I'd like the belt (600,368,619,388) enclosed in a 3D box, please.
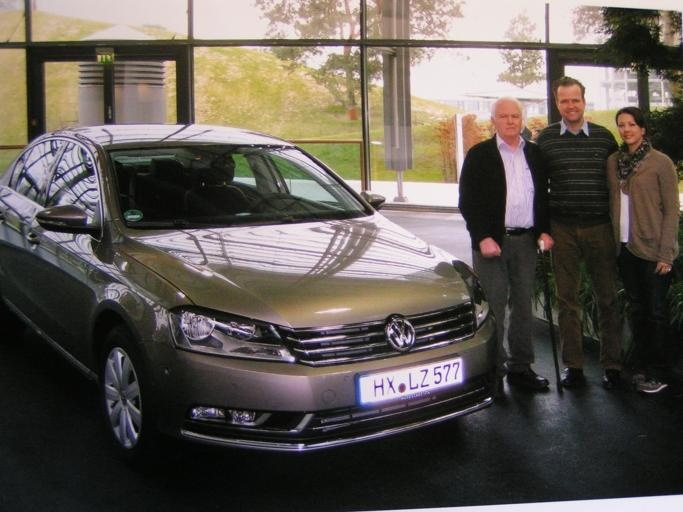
[{"bbox_3d":[1.787,0.814,3.879,0.064,0.071,0.172,-1,-2,20],"label":"belt"}]

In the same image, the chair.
[{"bbox_3d":[-0.946,-0.402,3.357,0.416,0.187,0.660,-5,24,-23],"label":"chair"}]

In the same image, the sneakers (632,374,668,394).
[{"bbox_3d":[1.977,0.830,3.793,0.105,0.050,0.127,-2,5,-15],"label":"sneakers"}]

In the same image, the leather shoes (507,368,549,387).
[{"bbox_3d":[1.243,0.814,3.946,0.261,0.103,0.103,2,7,44],"label":"leather shoes"}]

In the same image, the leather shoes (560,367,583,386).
[{"bbox_3d":[1.540,0.811,3.930,0.089,0.085,0.221,-1,-4,38],"label":"leather shoes"}]
